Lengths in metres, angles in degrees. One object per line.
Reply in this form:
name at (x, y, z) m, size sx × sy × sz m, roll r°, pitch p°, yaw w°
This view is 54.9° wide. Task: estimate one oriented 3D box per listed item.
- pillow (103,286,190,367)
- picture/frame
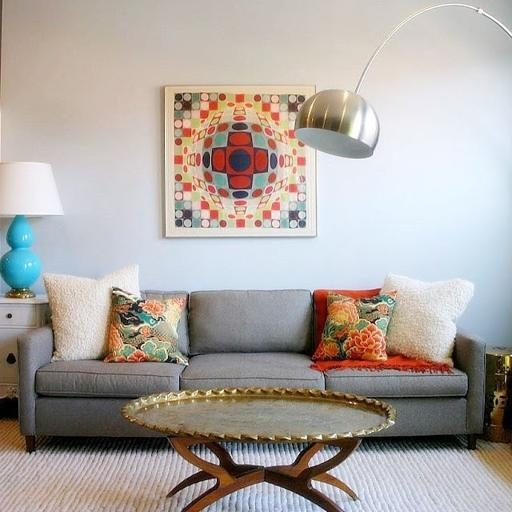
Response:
pillow at (-0.651, 0.424, 2.861) m, size 0.482 × 0.389 × 0.229 m, roll 3°, pitch -2°, yaw -16°
picture/frame at (-0.148, -0.699, 3.395) m, size 1.175 × 1.029 × 0.021 m, roll 0°, pitch 0°, yaw -5°
